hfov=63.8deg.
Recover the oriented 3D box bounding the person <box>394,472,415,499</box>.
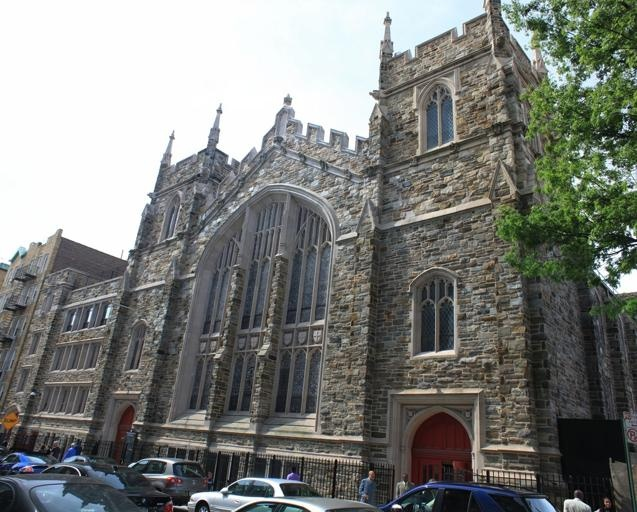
[{"bbox_3d":[2.561,6.825,15.296,0.516,0.661,1.821,0,-26,9],"label":"person"}]

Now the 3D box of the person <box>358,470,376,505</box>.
[{"bbox_3d":[1.520,7.036,15.611,0.500,0.985,1.476,1,-26,7],"label":"person"}]
